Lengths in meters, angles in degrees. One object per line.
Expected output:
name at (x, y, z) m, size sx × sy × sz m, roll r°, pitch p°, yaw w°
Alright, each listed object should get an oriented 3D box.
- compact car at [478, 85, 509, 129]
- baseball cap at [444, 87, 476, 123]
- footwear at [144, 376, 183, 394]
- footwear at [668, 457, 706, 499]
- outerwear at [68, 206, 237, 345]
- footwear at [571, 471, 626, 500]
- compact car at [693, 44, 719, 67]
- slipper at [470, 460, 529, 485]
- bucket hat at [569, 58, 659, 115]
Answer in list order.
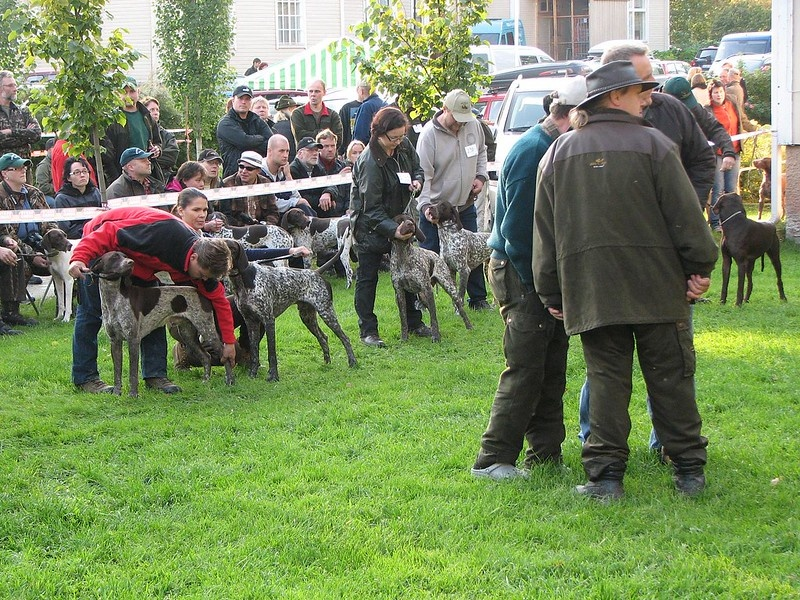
compact car at (1.539, -3.233, 15.572) m, size 0.718 × 0.633 × 1.246 m, roll -2°, pitch 19°, yaw -3°
baseball cap at (0.653, -2.014, 9.648) m, size 0.244 × 0.367 × 0.205 m, roll -19°, pitch -30°, yaw -23°
footwear at (-2.101, 0.746, 8.112) m, size 0.386 × 0.160 × 0.127 m, roll 1°, pitch 6°, yaw 29°
footwear at (1.834, 1.150, 5.949) m, size 0.291 × 0.278 × 0.234 m, roll 5°, pitch -16°, yaw -2°
outerwear at (-2.063, -0.194, 7.682) m, size 1.249 × 1.202 × 0.559 m, roll -2°, pitch 2°, yaw -10°
footwear at (1.278, 1.177, 5.911) m, size 0.345 × 0.225 × 0.115 m, roll 5°, pitch 2°, yaw 24°
compact car at (10.462, -8.320, 31.412) m, size 1.079 × 0.795 × 2.217 m, roll 1°, pitch 13°, yaw 14°
slipper at (0.660, 1.146, 6.125) m, size 0.312 × 0.097 × 0.136 m, roll -1°, pitch -1°, yaw 16°
bucket hat at (1.303, -1.345, 5.712) m, size 0.354 × 0.131 × 0.308 m, roll -23°, pitch 4°, yaw -12°
